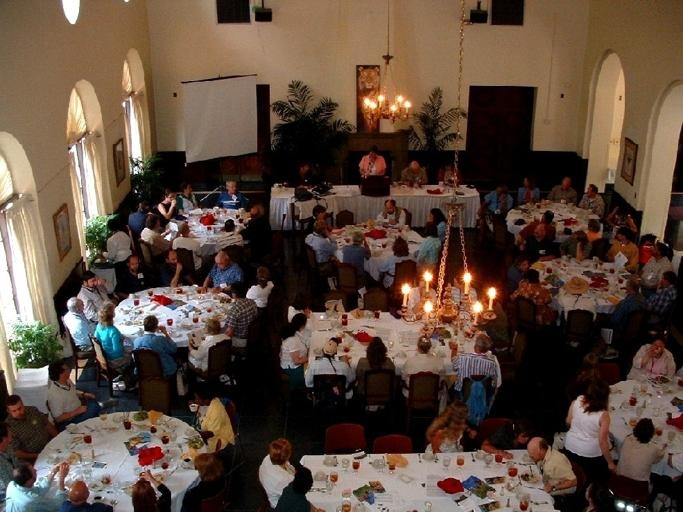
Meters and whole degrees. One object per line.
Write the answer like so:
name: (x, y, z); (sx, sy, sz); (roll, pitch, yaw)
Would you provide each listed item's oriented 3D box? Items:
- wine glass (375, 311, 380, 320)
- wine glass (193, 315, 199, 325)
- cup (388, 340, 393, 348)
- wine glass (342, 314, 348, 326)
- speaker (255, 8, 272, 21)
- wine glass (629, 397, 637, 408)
wine glass: (0.604, 0.999, 8.864); (0.093, 0.107, 0.094); (4, 6, -6)
wine glass: (-2.432, 1.071, 8.793); (0.097, 0.165, 0.097); (-11, -7, 15)
cup: (0.772, 1.367, 8.170); (0.074, 0.091, 0.078); (-2, 28, 1)
wine glass: (0.050, 1.065, 8.702); (0.122, 0.219, 0.132); (0, 41, 0)
speaker: (-2.421, -7.441, 16.179); (0.581, 0.424, 0.343); (2, 48, -2)
wine glass: (3.953, 1.992, 7.106); (0.089, 0.111, 0.095); (9, 39, 21)
